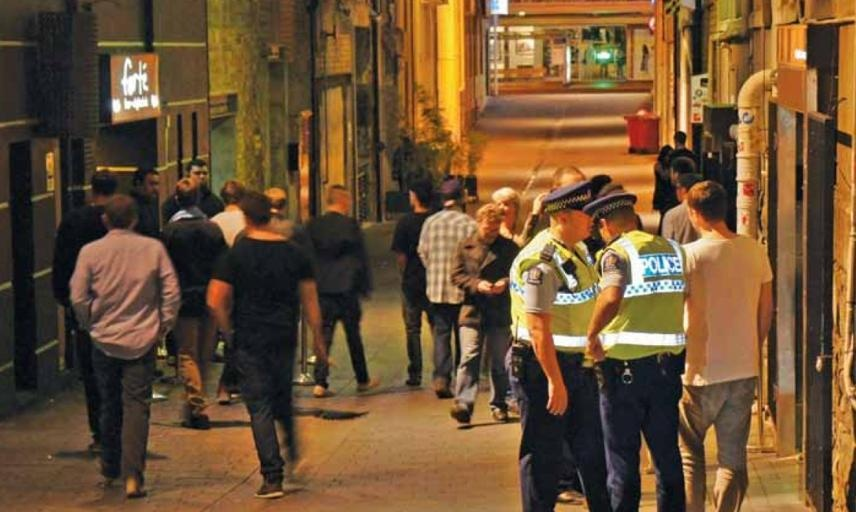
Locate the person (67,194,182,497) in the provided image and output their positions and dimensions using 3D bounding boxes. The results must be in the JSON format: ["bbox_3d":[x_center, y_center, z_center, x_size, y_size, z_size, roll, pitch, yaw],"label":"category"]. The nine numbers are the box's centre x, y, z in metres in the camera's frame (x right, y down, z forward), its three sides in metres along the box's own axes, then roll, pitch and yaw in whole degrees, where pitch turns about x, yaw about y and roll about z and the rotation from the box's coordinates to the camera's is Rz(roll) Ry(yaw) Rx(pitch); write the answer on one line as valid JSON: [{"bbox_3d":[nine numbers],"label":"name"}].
[{"bbox_3d":[-2.896,0.855,13.568,0.807,2.793,0.806,8,14,38],"label":"person"}]

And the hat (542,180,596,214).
[{"bbox_3d":[1.229,-0.504,12.349,0.345,0.137,0.290,-11,10,24],"label":"hat"}]

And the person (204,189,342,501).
[{"bbox_3d":[-1.514,0.844,13.641,0.837,2.817,0.971,10,15,43],"label":"person"}]

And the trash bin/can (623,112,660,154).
[{"bbox_3d":[6.340,-3.571,40.876,1.092,1.218,1.273,-2,7,2],"label":"trash bin/can"}]

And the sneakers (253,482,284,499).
[{"bbox_3d":[-1.518,2.270,13.356,0.117,0.127,0.296,-4,7,-33],"label":"sneakers"}]

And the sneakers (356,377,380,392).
[{"bbox_3d":[-0.707,1.559,16.471,0.222,0.089,0.167,-15,3,-2],"label":"sneakers"}]
